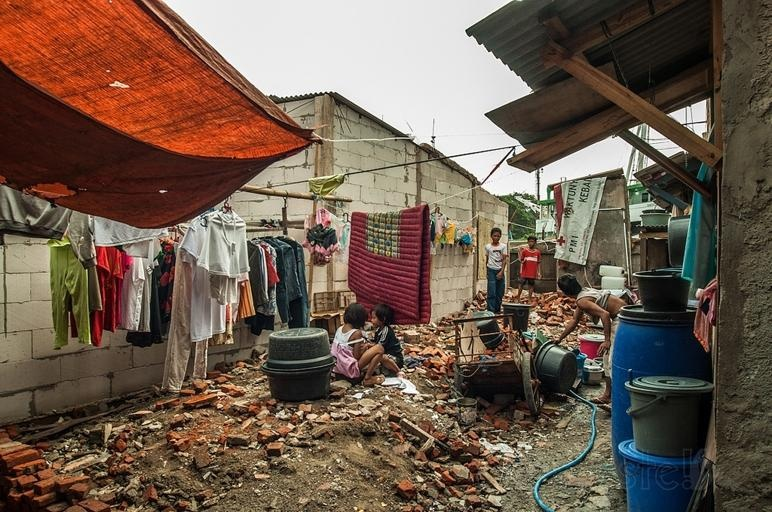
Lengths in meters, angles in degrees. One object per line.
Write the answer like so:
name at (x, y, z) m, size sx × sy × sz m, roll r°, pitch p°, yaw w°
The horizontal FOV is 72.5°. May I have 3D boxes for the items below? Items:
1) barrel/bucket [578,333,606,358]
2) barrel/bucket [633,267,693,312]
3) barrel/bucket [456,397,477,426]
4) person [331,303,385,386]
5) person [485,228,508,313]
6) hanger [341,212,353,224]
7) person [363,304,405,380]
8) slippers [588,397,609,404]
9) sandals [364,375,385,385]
barrel/bucket at (3.588, 1.552, 9.211) m, size 0.432 × 0.358 × 0.417 m, roll 0°, pitch -1°, yaw 0°
barrel/bucket at (2.883, 0.347, 5.514) m, size 0.469 × 0.327 × 0.457 m, roll -2°, pitch 1°, yaw 0°
barrel/bucket at (1.089, 2.147, 7.193) m, size 0.323 × 0.339 × 0.314 m, roll 0°, pitch -6°, yaw 0°
person at (-0.441, 1.301, 7.917) m, size 0.785 × 1.145 × 0.424 m, roll 0°, pitch -4°, yaw -7°
person at (2.501, 0.302, 12.060) m, size 0.472 × 1.985 × 0.897 m, roll -1°, pitch -4°, yaw 10°
hanger at (-0.834, -0.766, 10.418) m, size 0.095 × 0.292 × 0.308 m, roll -9°, pitch 20°, yaw -44°
person at (-0.003, 1.312, 8.476) m, size 0.932 × 1.327 × 1.170 m, roll -1°, pitch -5°, yaw -2°
slippers at (3.096, 2.141, 7.729) m, size 0.206 × 0.074 × 0.265 m, roll 3°, pitch -6°, yaw -37°
sandals at (-0.171, 1.835, 7.760) m, size 0.339 × 0.120 × 0.179 m, roll 3°, pitch -6°, yaw -41°
